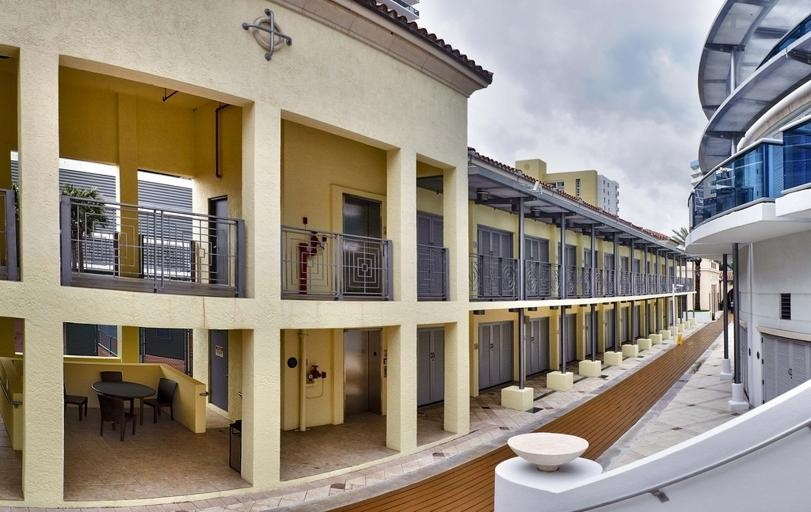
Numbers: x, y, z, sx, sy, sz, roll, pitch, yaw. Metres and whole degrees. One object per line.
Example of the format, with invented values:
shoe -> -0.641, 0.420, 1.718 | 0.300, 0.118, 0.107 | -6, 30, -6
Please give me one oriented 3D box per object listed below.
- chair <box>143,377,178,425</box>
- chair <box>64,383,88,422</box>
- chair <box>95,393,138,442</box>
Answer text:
chair -> -7.606, 4.373, 20.213 | 1.152, 1.067, 1.075 | 5, 5, -3
chair -> -9.629, 4.180, 19.129 | 0.729, 0.914, 0.545 | 7, 4, -5
chair -> -8.065, 4.442, 18.547 | 0.934, 1.274, 1.274 | -1, 10, -24
